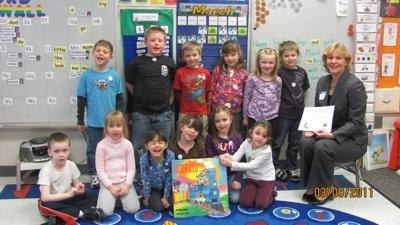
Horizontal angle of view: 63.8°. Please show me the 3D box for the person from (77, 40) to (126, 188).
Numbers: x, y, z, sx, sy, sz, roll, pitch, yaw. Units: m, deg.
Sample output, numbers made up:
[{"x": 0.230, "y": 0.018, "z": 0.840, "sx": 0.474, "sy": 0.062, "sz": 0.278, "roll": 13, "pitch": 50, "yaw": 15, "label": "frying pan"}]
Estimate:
[{"x": -1.468, "y": 0.014, "z": 4.728, "sx": 0.725, "sy": 2.046, "sz": 0.473, "roll": -1, "pitch": 9, "yaw": -20, "label": "person"}]

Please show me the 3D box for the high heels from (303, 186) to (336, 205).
[{"x": 1.595, "y": 1.095, "z": 4.269, "sx": 0.328, "sy": 0.105, "sz": 0.227, "roll": -3, "pitch": 7, "yaw": -8, "label": "high heels"}]

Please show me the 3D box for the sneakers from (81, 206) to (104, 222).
[{"x": -1.319, "y": 1.247, "z": 3.954, "sx": 0.230, "sy": 0.073, "sz": 0.159, "roll": 16, "pitch": -10, "yaw": -27, "label": "sneakers"}]

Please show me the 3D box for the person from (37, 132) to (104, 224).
[{"x": -1.447, "y": 0.801, "z": 4.272, "sx": 1.163, "sy": 1.067, "sz": 0.826, "roll": 5, "pitch": 6, "yaw": 43, "label": "person"}]
